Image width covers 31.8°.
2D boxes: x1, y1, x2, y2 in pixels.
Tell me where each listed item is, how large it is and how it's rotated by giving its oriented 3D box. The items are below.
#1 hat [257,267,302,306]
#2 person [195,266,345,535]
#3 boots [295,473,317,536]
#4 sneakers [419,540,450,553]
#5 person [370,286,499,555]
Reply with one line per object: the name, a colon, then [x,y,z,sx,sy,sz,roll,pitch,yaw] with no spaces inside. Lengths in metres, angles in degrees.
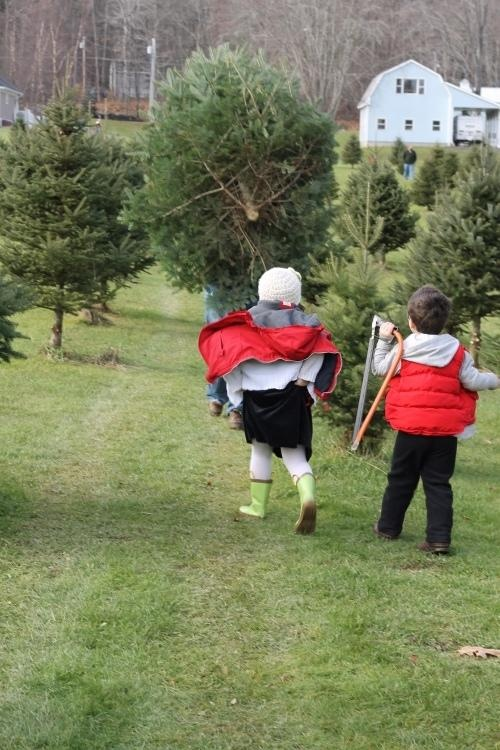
hat: [0.186,-0.554,5.539,0.248,0.220,0.286,3,12,0]
person: [0.097,0.141,5.399,0.888,1.566,0.610,8,11,16]
boots: [0.331,0.776,5.235,0.141,0.359,0.228,5,10,-3]
sneakers: [1.026,0.964,4.899,0.164,0.068,0.108,6,9,12]
person: [1.026,0.259,4.994,0.552,1.506,0.371,15,14,43]
